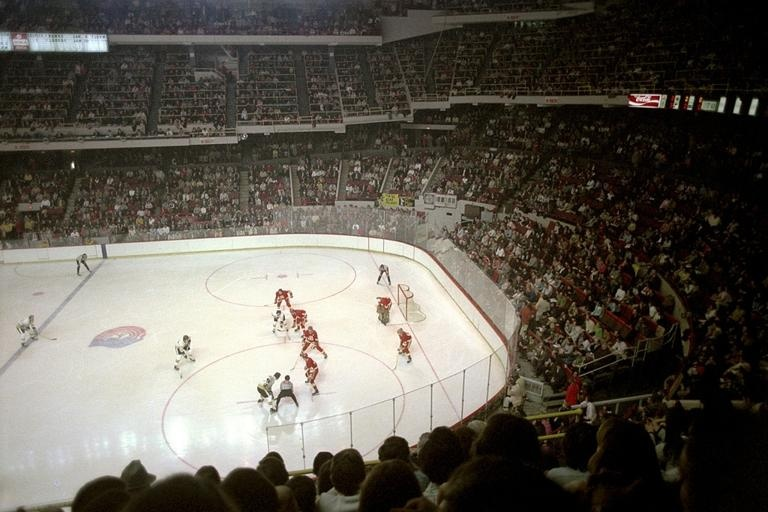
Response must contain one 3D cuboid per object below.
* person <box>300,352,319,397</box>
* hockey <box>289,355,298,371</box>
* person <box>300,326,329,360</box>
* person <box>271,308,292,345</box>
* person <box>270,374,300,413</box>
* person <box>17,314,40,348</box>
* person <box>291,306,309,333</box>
[{"bbox_3d":[-3.235,5.251,24.320,0.728,0.709,1.606,4,-46,3],"label":"person"},{"bbox_3d":[-4.096,4.964,25.719,0.395,0.363,0.546,19,-88,-16],"label":"hockey"},{"bbox_3d":[-3.293,3.992,25.718,1.278,0.662,2.197,-2,-44,-4],"label":"person"},{"bbox_3d":[-5.201,3.643,28.250,0.865,0.895,1.238,-18,-44,-30],"label":"person"},{"bbox_3d":[-4.144,5.500,23.026,1.072,1.597,1.862,-4,-31,-11],"label":"person"},{"bbox_3d":[-17.628,3.633,27.548,0.971,0.595,1.556,8,-75,1],"label":"person"},{"bbox_3d":[-4.196,3.253,27.706,0.636,1.447,1.631,-5,-31,-10],"label":"person"}]
